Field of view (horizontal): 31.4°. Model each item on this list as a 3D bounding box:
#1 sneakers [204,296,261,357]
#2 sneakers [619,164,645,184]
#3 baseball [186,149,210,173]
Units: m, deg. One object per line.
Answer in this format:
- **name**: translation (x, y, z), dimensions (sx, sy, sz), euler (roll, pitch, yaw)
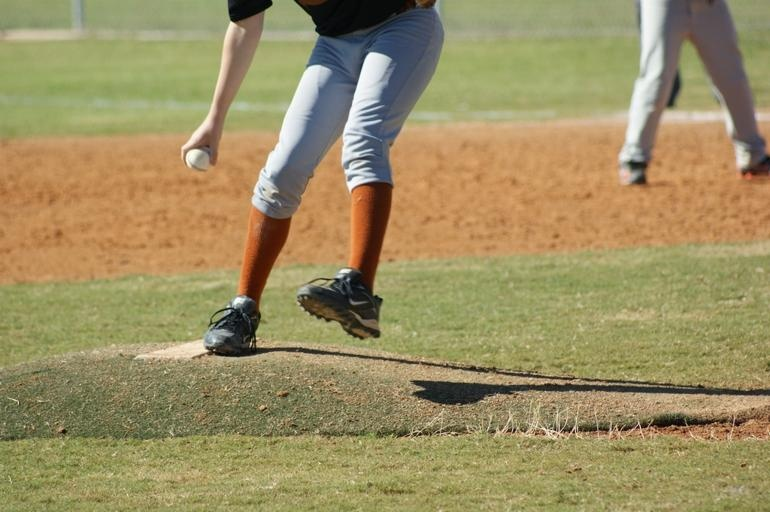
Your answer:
- **sneakers**: translation (-0.964, 0.439, 8.542), dimensions (0.252, 0.211, 0.454), euler (7, 10, 7)
- **sneakers**: translation (1.678, -0.556, 9.222), dimensions (0.146, 0.131, 0.154), euler (-1, -2, 33)
- **baseball**: translation (-1.147, -0.587, 8.354), dimensions (0.135, 0.096, 0.140), euler (3, -4, 0)
